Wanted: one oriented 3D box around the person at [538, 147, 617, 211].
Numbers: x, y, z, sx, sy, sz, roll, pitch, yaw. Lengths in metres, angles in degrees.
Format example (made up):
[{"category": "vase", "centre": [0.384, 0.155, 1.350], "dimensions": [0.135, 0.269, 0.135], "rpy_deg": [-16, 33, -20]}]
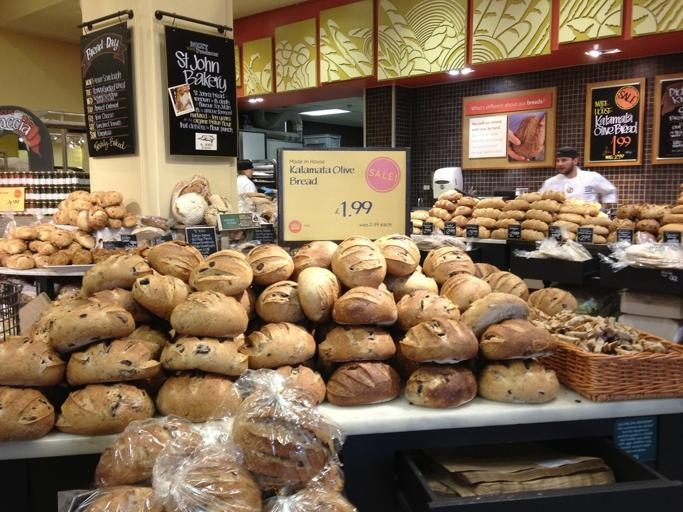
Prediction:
[{"category": "person", "centre": [2.842, -0.889, 6.123], "dimensions": [0.515, 0.781, 1.100], "rpy_deg": [-2, 3, -36]}]
